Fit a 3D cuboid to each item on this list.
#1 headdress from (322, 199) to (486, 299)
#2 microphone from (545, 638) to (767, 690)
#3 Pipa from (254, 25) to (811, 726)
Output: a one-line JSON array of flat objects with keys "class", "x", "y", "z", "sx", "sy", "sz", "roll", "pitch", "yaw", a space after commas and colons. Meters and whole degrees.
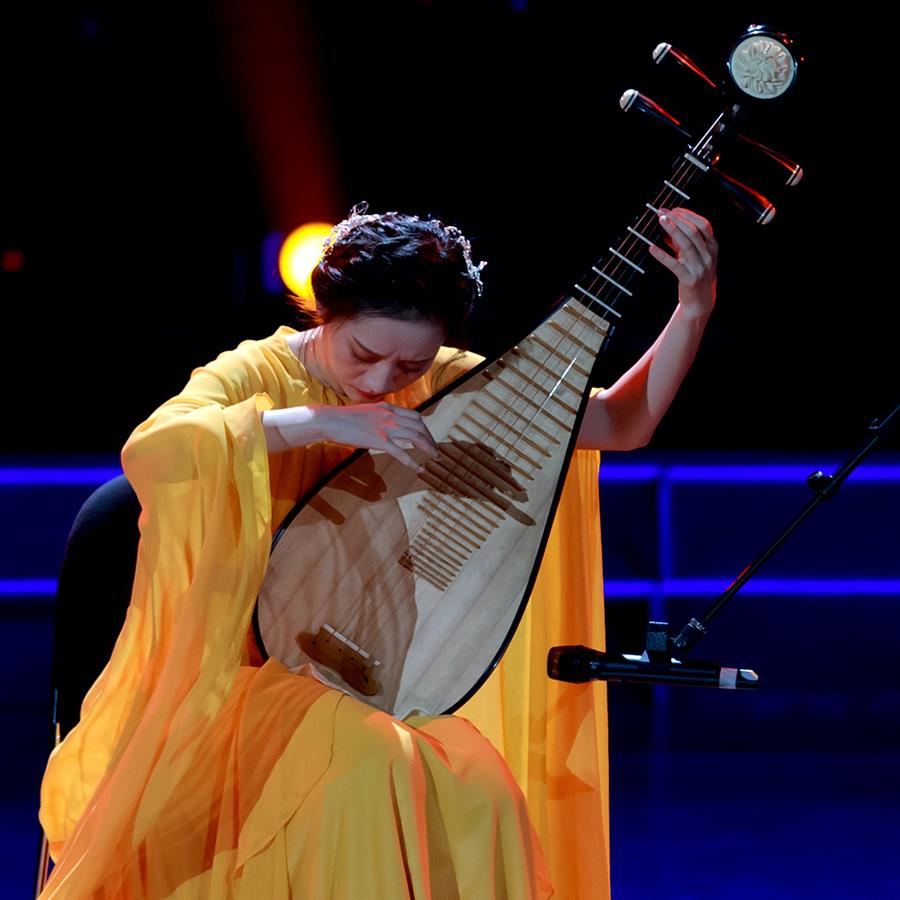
[{"class": "headdress", "x": -0.070, "y": -0.299, "z": 1.837, "sx": 0.231, "sy": 0.126, "sz": 0.074, "roll": 28, "pitch": -22, "yaw": -8}, {"class": "microphone", "x": 0.249, "y": 0.284, "z": 1.677, "sx": 0.341, "sy": 0.085, "sz": 0.091, "roll": 1, "pitch": -18, "yaw": 5}, {"class": "Pipa", "x": 0.166, "y": -0.174, "z": 1.850, "sx": 0.426, "sy": 1.292, "sz": 0.175, "roll": 35, "pitch": -9, "yaw": -4}]
